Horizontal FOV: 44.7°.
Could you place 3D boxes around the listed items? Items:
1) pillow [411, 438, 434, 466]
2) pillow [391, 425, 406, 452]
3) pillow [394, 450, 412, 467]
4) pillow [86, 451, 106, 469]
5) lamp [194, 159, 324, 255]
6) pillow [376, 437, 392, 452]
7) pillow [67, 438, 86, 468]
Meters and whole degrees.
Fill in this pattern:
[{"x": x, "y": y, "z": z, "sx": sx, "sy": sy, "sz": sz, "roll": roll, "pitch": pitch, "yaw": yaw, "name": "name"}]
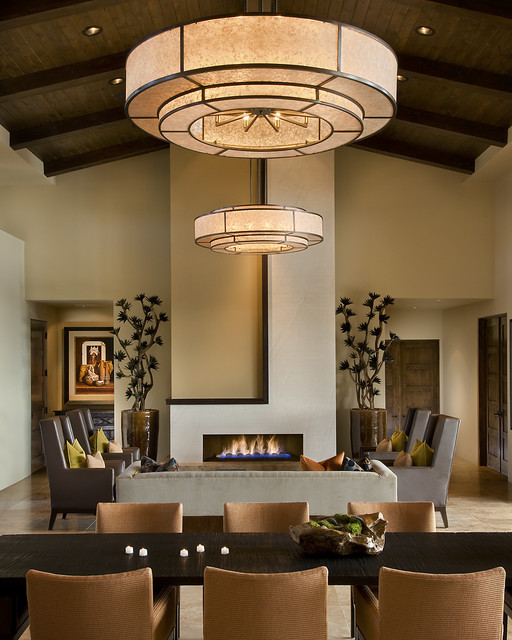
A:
[{"x": 1.786, "y": 1.412, "z": 6.656, "sx": 0.105, "sy": 0.221, "sz": 0.295, "roll": 26, "pitch": -11, "yaw": -2, "name": "pillow"}, {"x": 1.851, "y": 1.508, "z": 8.088, "sx": 0.203, "sy": 0.370, "sz": 0.352, "roll": 4, "pitch": -7, "yaw": 6, "name": "pillow"}, {"x": 1.579, "y": 1.486, "z": 6.687, "sx": 0.128, "sy": 0.172, "sz": 0.220, "roll": 1, "pitch": -4, "yaw": -11, "name": "pillow"}, {"x": -1.752, "y": 1.530, "z": 6.820, "sx": 0.077, "sy": 0.214, "sz": 0.209, "roll": -24, "pitch": -15, "yaw": 18, "name": "pillow"}, {"x": 0.099, "y": -1.346, "z": 7.351, "sx": 1.496, "sy": 1.619, "sz": 1.476, "roll": 1, "pitch": -5, "yaw": -1, "name": "lamp"}, {"x": 1.693, "y": 1.646, "z": 8.262, "sx": 0.118, "sy": 0.215, "sz": 0.217, "roll": 15, "pitch": 41, "yaw": -8, "name": "pillow"}, {"x": -1.937, "y": 1.429, "z": 6.680, "sx": 0.098, "sy": 0.230, "sz": 0.239, "roll": -21, "pitch": 16, "yaw": -8, "name": "pillow"}]
